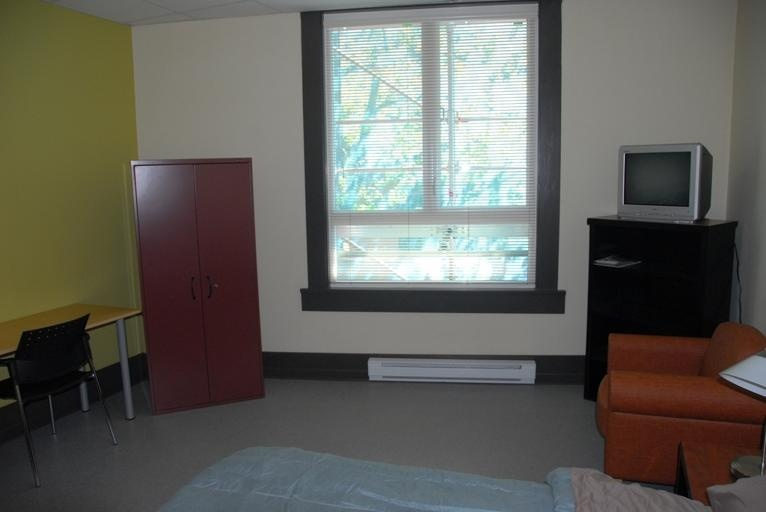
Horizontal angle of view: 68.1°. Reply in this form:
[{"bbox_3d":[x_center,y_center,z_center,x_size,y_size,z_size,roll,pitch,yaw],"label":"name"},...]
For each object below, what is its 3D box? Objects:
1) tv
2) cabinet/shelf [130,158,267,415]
[{"bbox_3d":[2.572,-0.576,5.232,0.765,0.729,0.752,2,-1,37],"label":"tv"},{"bbox_3d":[-1.760,0.287,5.455,1.059,2.396,0.377,-4,10,-20],"label":"cabinet/shelf"}]
